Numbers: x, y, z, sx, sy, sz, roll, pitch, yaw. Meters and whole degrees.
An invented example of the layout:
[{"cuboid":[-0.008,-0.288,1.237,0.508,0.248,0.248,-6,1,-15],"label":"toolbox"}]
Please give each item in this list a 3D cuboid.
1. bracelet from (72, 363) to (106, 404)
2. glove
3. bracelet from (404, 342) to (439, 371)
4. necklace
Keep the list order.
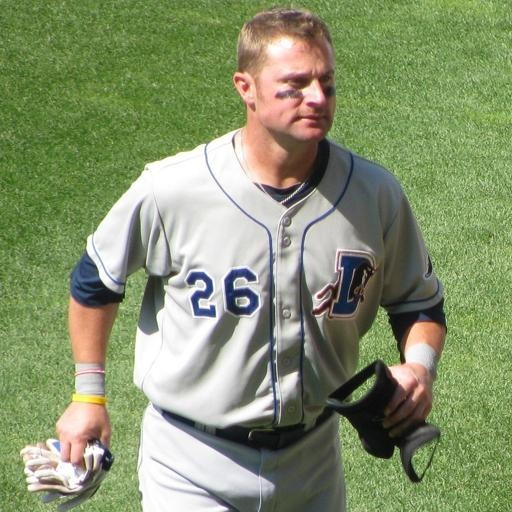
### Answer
[{"cuboid":[-0.588,0.464,3.305,0.117,0.130,0.160,0,80,-1],"label":"bracelet"},{"cuboid":[-0.684,0.760,3.235,0.241,0.217,0.285,30,6,11],"label":"glove"},{"cuboid":[0.586,0.349,3.264,0.090,0.091,0.097,26,75,5],"label":"bracelet"},{"cuboid":[0.082,-0.295,3.102,0.144,0.237,0.052,8,-2,16],"label":"necklace"}]
